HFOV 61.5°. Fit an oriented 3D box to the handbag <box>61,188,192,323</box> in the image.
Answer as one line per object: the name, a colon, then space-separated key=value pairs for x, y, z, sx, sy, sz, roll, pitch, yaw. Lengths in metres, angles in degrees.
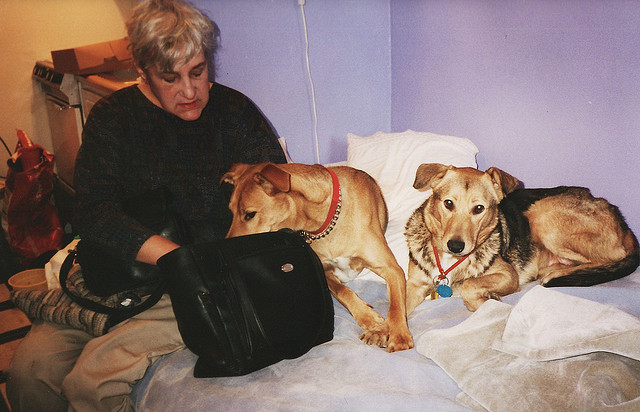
handbag: x=-1.030 y=0.326 z=2.930 sx=0.751 sy=0.577 sz=0.220 roll=-25 pitch=-4 yaw=0

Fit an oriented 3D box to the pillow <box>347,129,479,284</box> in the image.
pillow: x=0.572 y=-0.002 z=3.180 sx=0.284 sy=0.863 sz=0.802 roll=11 pitch=-8 yaw=-43

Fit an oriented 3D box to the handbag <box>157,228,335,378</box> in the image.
handbag: x=-0.321 y=0.404 z=2.932 sx=1.042 sy=0.612 sz=0.935 roll=-7 pitch=21 yaw=-31
